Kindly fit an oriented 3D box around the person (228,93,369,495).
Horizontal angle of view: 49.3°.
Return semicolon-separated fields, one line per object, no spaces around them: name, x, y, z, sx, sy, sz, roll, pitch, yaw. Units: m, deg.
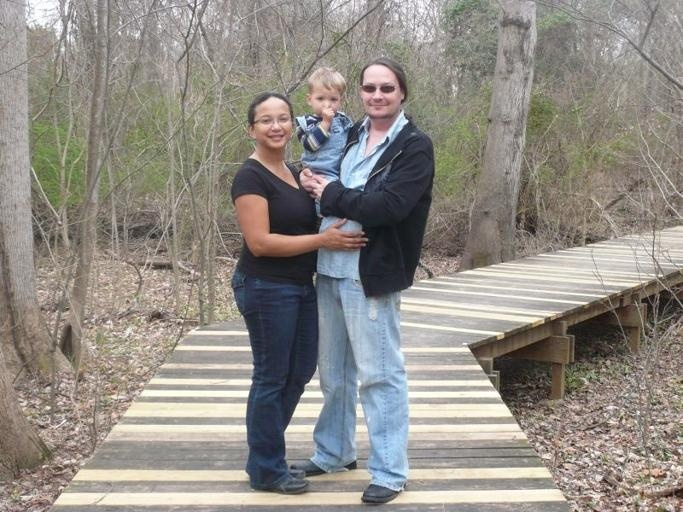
person;-0.410;0.281;5.342;0.750;2.902;0.353;0;2;-7

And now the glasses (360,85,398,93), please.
glasses;0.268;-1.181;5.259;0.253;0.071;0.045;1;2;10
